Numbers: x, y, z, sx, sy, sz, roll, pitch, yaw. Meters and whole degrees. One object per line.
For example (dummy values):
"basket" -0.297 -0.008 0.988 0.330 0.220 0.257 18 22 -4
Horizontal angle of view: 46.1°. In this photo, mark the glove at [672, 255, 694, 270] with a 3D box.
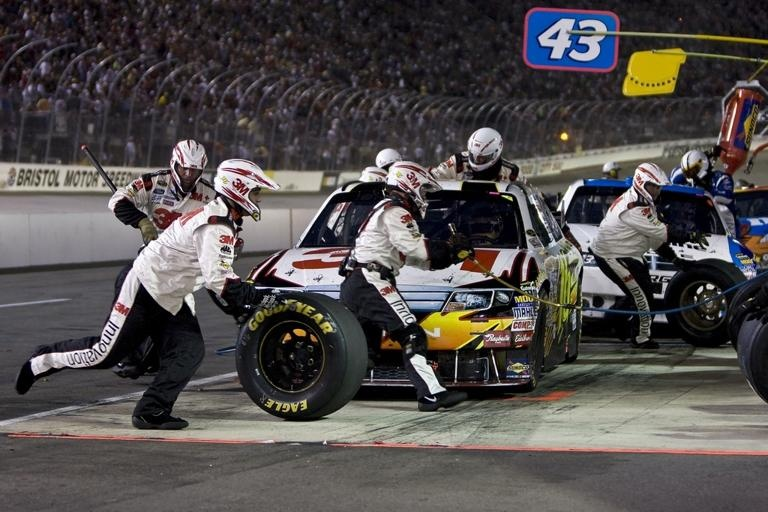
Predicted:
"glove" 3.860 0.092 11.591 0.374 0.096 0.093 8 -26 -37

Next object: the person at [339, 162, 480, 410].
"person" 0.181 0.269 8.069 1.202 2.224 0.584 1 4 8

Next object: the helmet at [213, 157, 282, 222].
"helmet" -1.174 -0.578 7.558 0.616 0.413 0.392 6 12 -26

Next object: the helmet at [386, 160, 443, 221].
"helmet" 0.200 -0.648 8.340 0.640 0.440 0.452 10 -11 -43

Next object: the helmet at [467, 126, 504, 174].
"helmet" 1.235 -1.301 11.041 0.406 0.541 0.388 1 4 4

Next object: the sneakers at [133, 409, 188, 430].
"sneakers" -1.861 1.364 7.522 0.516 0.185 0.160 0 8 -5

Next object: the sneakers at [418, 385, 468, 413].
"sneakers" 0.510 1.273 7.936 0.505 0.183 0.180 -14 6 1

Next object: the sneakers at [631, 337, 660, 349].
"sneakers" 3.445 1.126 11.826 0.433 0.164 0.132 0 30 3

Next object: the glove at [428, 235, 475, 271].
"glove" 0.593 -0.030 8.083 0.418 0.338 0.366 1 4 5

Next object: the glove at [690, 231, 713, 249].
"glove" 3.962 -0.225 11.339 0.278 0.091 0.276 33 1 23

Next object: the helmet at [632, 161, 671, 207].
"helmet" 3.346 -0.916 11.576 0.497 0.421 0.355 13 7 10
